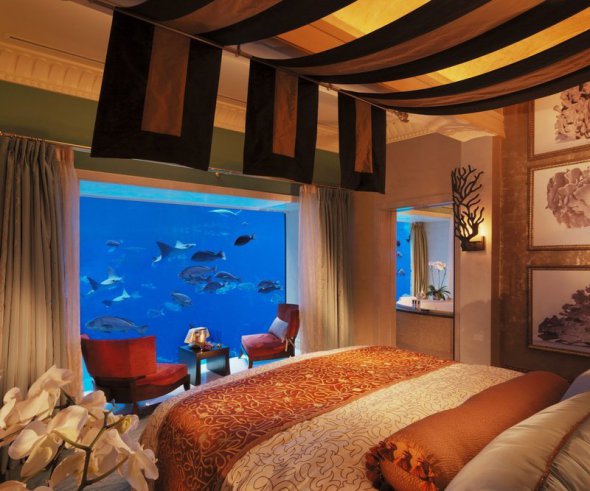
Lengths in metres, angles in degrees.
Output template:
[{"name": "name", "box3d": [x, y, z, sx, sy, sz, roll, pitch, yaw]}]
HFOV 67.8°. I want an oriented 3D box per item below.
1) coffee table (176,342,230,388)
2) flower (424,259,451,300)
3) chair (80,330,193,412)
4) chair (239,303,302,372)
[{"name": "coffee table", "box3d": [-1.067, 1.395, 5.205, 0.472, 0.361, 0.369, -2, 3, -43]}, {"name": "flower", "box3d": [2.695, 0.689, 8.221, 0.347, 0.592, 0.329, 1, 8, -4]}, {"name": "chair", "box3d": [-1.635, 1.205, 4.463, 0.794, 0.850, 1.009, 1, 3, 32]}, {"name": "chair", "box3d": [-0.304, 1.170, 5.719, 0.717, 0.827, 0.626, 1, 0, -23]}]
